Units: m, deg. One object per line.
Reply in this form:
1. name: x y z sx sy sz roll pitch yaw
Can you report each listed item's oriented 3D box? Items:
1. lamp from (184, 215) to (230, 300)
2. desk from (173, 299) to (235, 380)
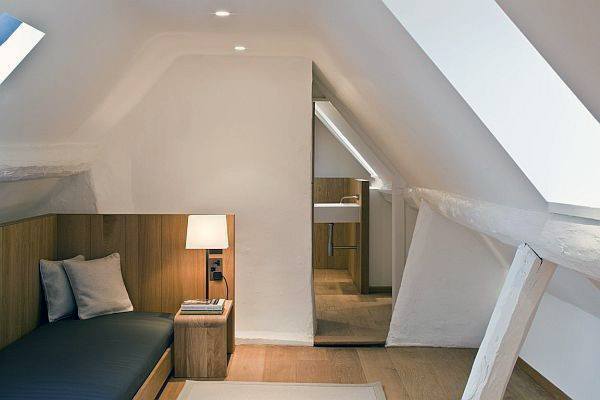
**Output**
1. lamp: -0.778 0.477 3.753 0.334 0.730 0.246 -2 9 -7
2. desk: -0.809 1.099 3.826 0.430 0.502 0.776 1 8 -3
